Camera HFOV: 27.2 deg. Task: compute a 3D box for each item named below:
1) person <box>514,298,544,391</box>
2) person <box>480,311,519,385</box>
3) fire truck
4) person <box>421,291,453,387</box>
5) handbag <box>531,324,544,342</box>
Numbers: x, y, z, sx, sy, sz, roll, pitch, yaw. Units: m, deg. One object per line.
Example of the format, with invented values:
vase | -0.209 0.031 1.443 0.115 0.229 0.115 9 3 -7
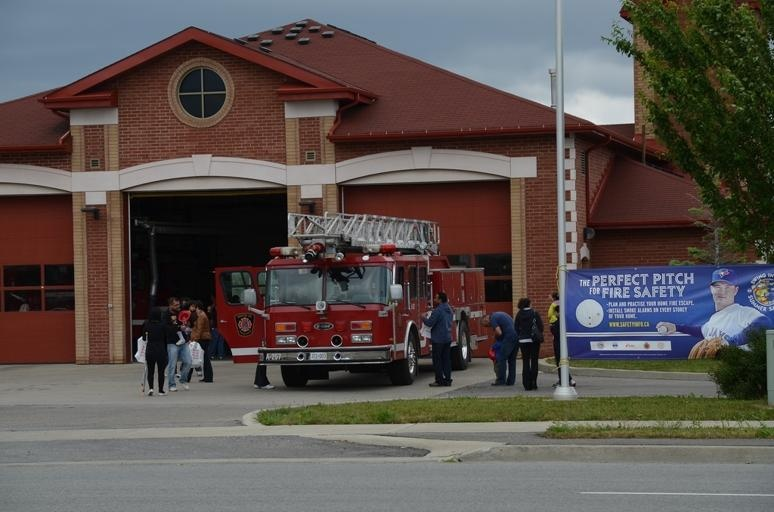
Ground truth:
person | 3.757 2.369 42.017 0.707 2.364 1.348 -1 9 4
person | 3.092 2.528 42.868 0.932 1.793 0.756 -2 -1 -35
fire truck | -0.485 1.154 46.132 5.362 3.862 8.965 -1 2 21
person | 1.475 2.352 43.027 0.985 2.269 0.918 -1 -1 -7
handbag | 3.950 2.054 41.948 0.293 0.456 0.236 -1 9 4
